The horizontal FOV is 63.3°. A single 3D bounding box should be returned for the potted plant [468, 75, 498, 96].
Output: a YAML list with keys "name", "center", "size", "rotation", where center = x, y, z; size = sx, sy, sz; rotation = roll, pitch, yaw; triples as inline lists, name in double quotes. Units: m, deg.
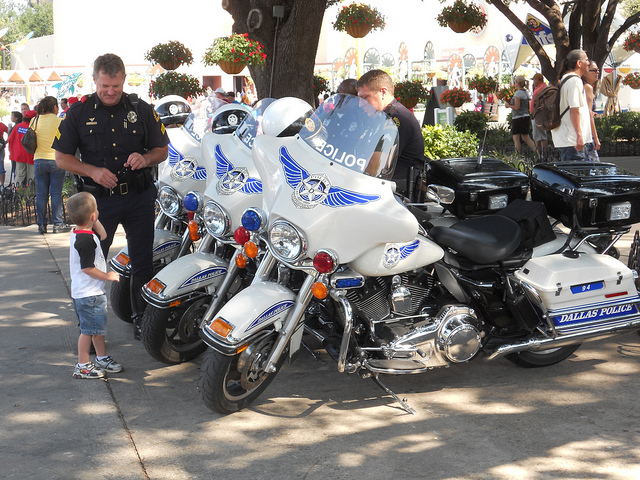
- name: "potted plant"
  center: [5.023, -4.779, 15.997]
  size: [0.710, 0.440, 0.658]
  rotation: [-14, 18, -29]

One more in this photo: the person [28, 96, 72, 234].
- name: "person"
  center: [-5.088, -1.427, 10.154]
  size: [0.952, 2.537, 0.868]
  rotation: [4, 7, 17]

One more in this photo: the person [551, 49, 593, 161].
- name: "person"
  center: [3.532, -1.839, 7.096]
  size: [0.451, 1.517, 0.597]
  rotation: [-1, 13, -2]

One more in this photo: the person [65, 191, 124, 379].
- name: "person"
  center: [-1.869, 0.395, 4.361]
  size: [0.494, 1.493, 0.585]
  rotation: [1, 2, -14]

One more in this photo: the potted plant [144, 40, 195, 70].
- name: "potted plant"
  center: [-3.159, -3.866, 11.116]
  size: [0.813, 0.460, 0.751]
  rotation: [1, 6, 25]

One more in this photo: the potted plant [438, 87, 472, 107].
- name: "potted plant"
  center: [3.899, -4.093, 15.077]
  size: [0.774, 0.440, 0.737]
  rotation: [-3, 8, -1]

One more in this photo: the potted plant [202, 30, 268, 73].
- name: "potted plant"
  center: [-1.430, -2.981, 8.432]
  size: [0.831, 0.467, 0.843]
  rotation: [-3, 13, -9]

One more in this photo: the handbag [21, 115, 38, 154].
- name: "handbag"
  center: [-5.482, -2.001, 9.909]
  size: [0.292, 0.686, 0.570]
  rotation: [-7, 14, -26]

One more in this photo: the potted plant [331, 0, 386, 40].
- name: "potted plant"
  center: [0.854, -4.766, 11.146]
  size: [1.036, 0.811, 1.143]
  rotation: [2, 13, 8]
